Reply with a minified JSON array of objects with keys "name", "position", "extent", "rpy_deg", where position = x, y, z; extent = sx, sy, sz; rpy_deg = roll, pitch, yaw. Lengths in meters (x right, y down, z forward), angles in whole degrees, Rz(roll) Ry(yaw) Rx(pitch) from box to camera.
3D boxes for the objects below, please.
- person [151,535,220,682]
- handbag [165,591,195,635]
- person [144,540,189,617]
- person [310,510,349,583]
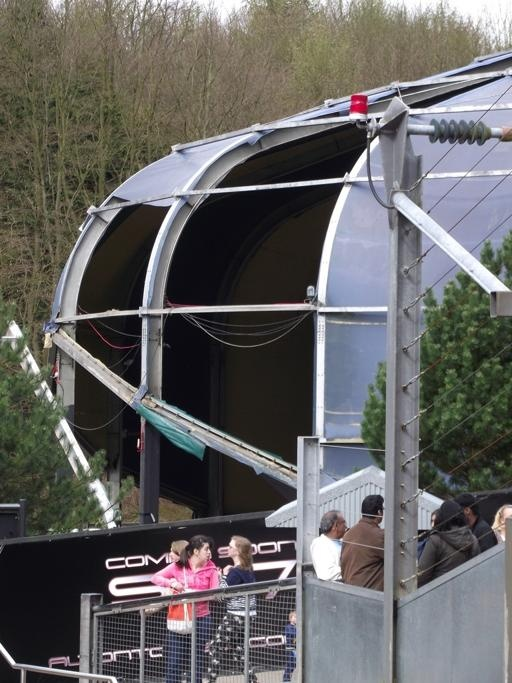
[{"name":"person","position":[-1.110,4.085,32.572],"extent":[1.126,3.468,0.896],"rpy_deg":[2,-26,-4]},{"name":"handbag","position":[-1.193,4.063,32.081],"extent":[0.367,0.481,0.718],"rpy_deg":[-2,-1,17]},{"name":"person","position":[-1.359,3.602,33.613],"extent":[0.530,1.035,0.296],"rpy_deg":[0,-3,25]},{"name":"person","position":[1.043,2.914,30.800],"extent":[0.436,0.906,0.886],"rpy_deg":[-3,1,11]}]
